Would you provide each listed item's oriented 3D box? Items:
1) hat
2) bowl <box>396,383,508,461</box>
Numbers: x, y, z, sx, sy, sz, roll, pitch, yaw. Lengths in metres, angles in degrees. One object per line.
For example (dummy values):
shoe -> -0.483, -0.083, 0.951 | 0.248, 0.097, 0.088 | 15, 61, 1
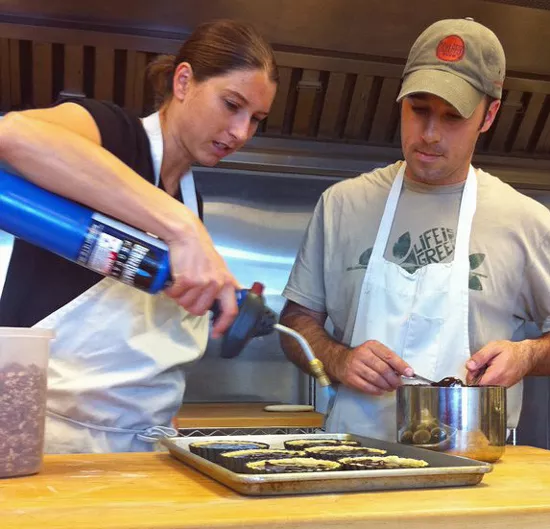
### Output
hat -> 0.449, -0.529, 1.387 | 0.274, 0.198, 0.399 | 25, 35, 16
bowl -> 0.333, 0.299, 1.043 | 0.215, 0.130, 0.214 | 6, -12, 1
